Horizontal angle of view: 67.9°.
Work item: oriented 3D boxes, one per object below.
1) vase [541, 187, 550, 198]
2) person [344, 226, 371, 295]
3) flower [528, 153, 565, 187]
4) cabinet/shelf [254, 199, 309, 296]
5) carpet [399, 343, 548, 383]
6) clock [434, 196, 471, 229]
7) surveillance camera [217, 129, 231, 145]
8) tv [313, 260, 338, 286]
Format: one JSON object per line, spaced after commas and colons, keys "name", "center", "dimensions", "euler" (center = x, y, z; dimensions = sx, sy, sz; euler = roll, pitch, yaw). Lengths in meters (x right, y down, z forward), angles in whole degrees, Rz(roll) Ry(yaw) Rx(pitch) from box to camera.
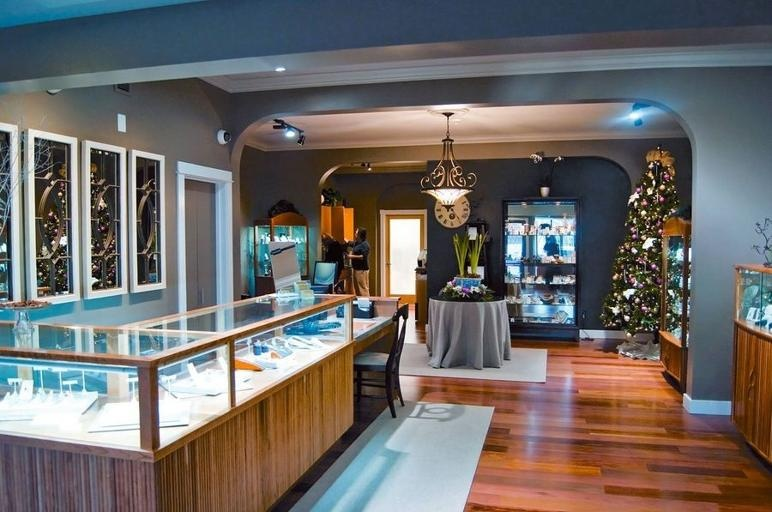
{"name": "vase", "center": [2.513, -1.005, 9.185], "dimensions": [0.152, 0.159, 0.154], "euler": [1, -3, -12]}
{"name": "person", "center": [-0.583, 0.143, 11.323], "dimensions": [0.422, 1.402, 0.731], "euler": [-1, 10, -6]}
{"name": "flower", "center": [2.616, -1.414, 9.328], "dimensions": [0.548, 0.549, 0.222], "euler": [0, 2, 3]}
{"name": "cabinet/shelf", "center": [-1.817, -0.149, 9.629], "dimensions": [0.850, 1.474, 1.213], "euler": [2, 10, 11]}
{"name": "carpet", "center": [1.156, 1.421, 7.688], "dimensions": [1.957, 0.125, 1.462], "euler": [2, 10, 11]}
{"name": "clock", "center": [1.112, -0.722, 9.415], "dimensions": [0.566, 0.565, 0.058], "euler": [0, 0, 5]}
{"name": "surveillance camera", "center": [-1.992, -1.466, 7.067], "dimensions": [0.052, 0.163, 0.164], "euler": [0, -1, 13]}
{"name": "tv", "center": [-0.979, 0.288, 9.238], "dimensions": [0.425, 0.412, 0.043], "euler": [2, -5, 25]}
